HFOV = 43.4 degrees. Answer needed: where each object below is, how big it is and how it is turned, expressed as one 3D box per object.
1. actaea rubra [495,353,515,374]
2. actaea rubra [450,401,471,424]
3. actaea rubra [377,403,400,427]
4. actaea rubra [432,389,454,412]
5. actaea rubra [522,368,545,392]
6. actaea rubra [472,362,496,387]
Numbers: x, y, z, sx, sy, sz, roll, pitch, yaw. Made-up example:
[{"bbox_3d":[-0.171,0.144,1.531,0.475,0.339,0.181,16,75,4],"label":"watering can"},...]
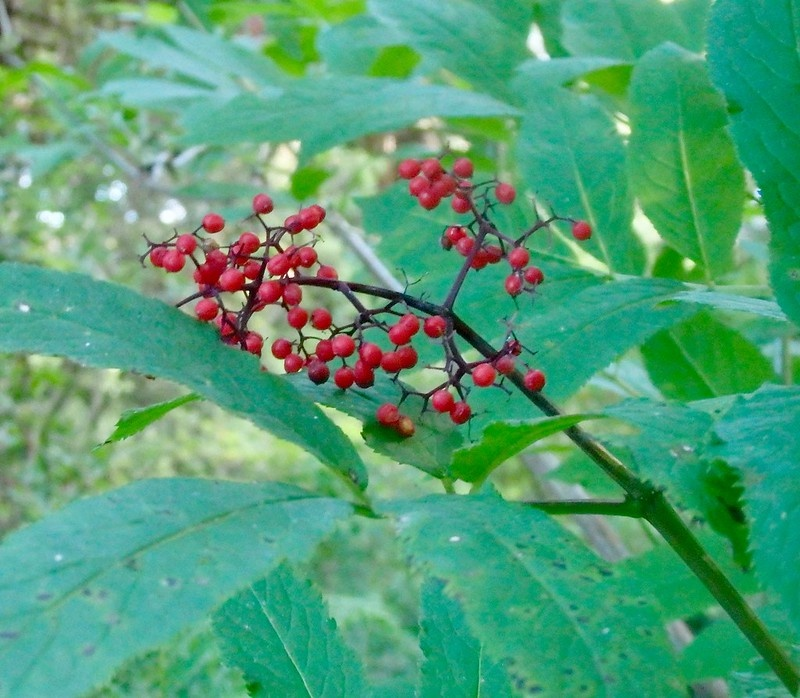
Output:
[{"bbox_3d":[0.090,0.013,0.884,0.018,0.019,0.016,2,-12,-6],"label":"actaea rubra"},{"bbox_3d":[0.054,0.057,0.903,0.021,0.021,0.019,3,-36,-1],"label":"actaea rubra"},{"bbox_3d":[-0.010,0.059,0.891,0.022,0.018,0.011,3,1,-4],"label":"actaea rubra"},{"bbox_3d":[0.041,0.044,0.939,0.021,0.024,0.019,9,-48,0],"label":"actaea rubra"},{"bbox_3d":[0.116,0.027,0.867,0.013,0.017,0.013,-47,-47,7],"label":"actaea rubra"},{"bbox_3d":[0.077,0.023,0.909,0.023,0.017,0.030,-21,-12,2],"label":"actaea rubra"}]
